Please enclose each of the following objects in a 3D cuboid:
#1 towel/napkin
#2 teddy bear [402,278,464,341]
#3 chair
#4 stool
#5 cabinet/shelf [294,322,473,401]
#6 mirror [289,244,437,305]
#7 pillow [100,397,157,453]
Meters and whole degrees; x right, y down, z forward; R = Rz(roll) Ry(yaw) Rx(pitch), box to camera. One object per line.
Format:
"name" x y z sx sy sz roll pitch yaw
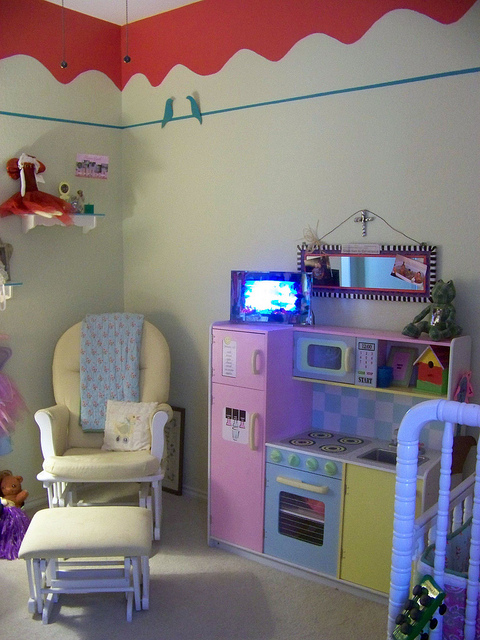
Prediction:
"towel/napkin" -0.793 0.279 3.406 0.319 0.716 0.064 -1 35 -15
"teddy bear" 0.854 -0.081 2.379 0.244 0.346 0.254 -4 9 -32
"chair" -0.796 0.634 3.190 0.749 1.204 0.994 -1 4 -9
"stool" -0.659 1.058 2.324 0.502 0.406 0.367 2 18 -8
"cabinet/shelf" 0.647 0.198 2.545 0.857 0.296 0.292 5 6 44
"mirror" 0.621 -0.248 2.687 0.079 0.295 0.783 -4 6 -44
"pillow" -0.666 0.640 3.140 0.236 0.255 0.092 0 -32 2
